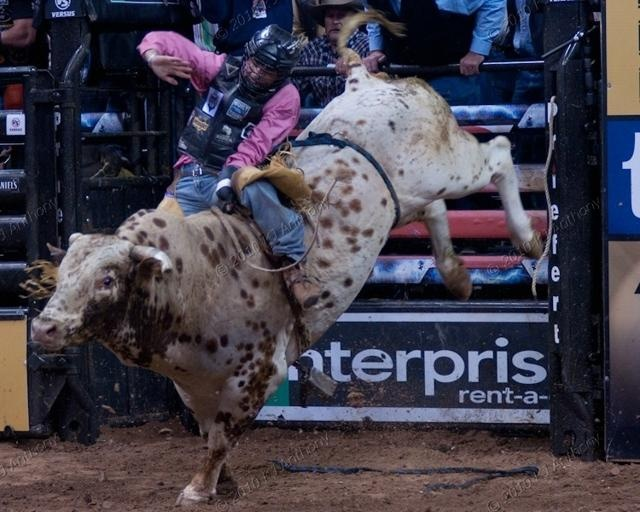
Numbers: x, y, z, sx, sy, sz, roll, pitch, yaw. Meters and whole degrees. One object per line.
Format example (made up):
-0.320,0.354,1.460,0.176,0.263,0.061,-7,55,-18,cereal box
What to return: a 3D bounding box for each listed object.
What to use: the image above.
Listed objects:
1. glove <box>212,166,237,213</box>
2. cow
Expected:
-0.623,-0.446,8.814,0.110,0.285,0.167,-19,-37,33,glove
-0.232,0.110,8.753,3.416,2.890,0.879,-8,9,-43,cow
